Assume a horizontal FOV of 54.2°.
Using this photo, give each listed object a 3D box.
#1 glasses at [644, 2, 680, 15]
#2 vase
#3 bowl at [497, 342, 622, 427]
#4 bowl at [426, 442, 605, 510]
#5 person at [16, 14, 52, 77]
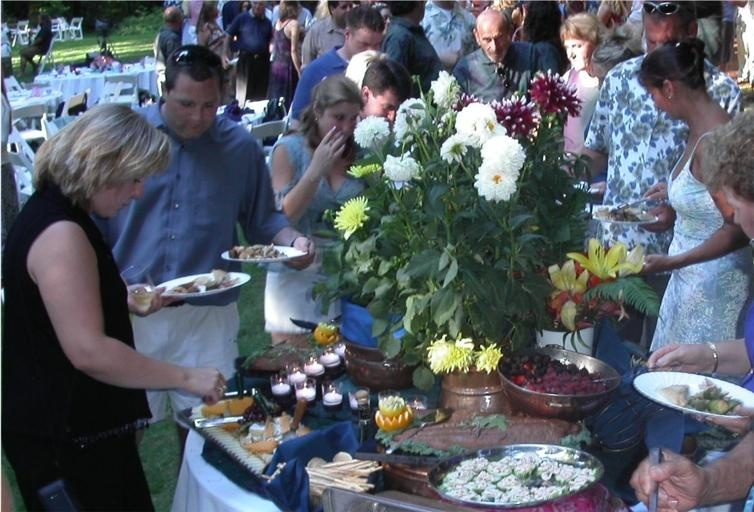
[{"bbox_3d":[1.652,-1.446,4.288,0.212,0.095,0.094,8,16,38],"label":"glasses"},{"bbox_3d":[0.403,0.538,3.028,0.196,0.215,0.212,-1,-5,0],"label":"vase"},{"bbox_3d":[0.695,0.517,2.921,0.416,0.175,0.478,5,15,13],"label":"bowl"},{"bbox_3d":[0.495,0.771,2.617,0.609,0.129,0.241,-6,13,-14],"label":"bowl"},{"bbox_3d":[-6.069,-3.762,13.134,0.512,1.166,0.494,1,-2,-12],"label":"person"}]
